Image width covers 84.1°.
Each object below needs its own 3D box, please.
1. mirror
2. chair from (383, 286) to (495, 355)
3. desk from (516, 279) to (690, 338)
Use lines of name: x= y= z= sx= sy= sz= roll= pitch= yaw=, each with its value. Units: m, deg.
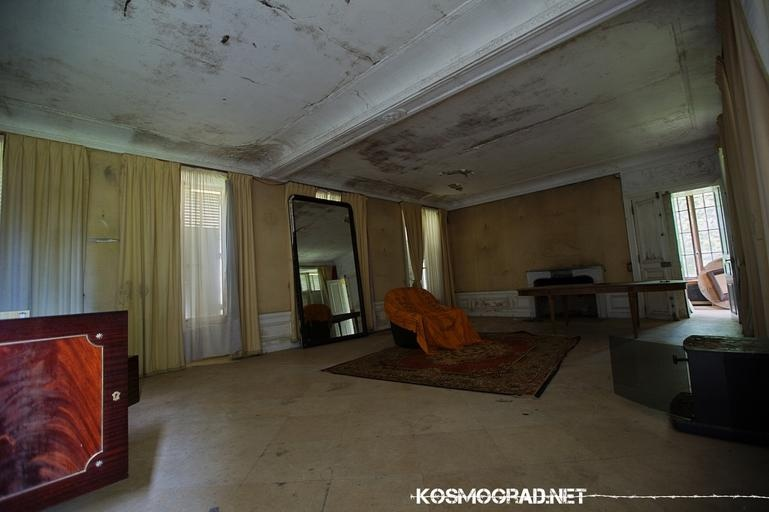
mirror: x=-1.030 y=0.207 z=7.544 sx=1.717 sy=2.578 sz=0.806 roll=-16 pitch=17 yaw=-39
chair: x=0.676 y=0.916 z=6.590 sx=1.237 sy=0.760 sz=1.339 roll=-1 pitch=3 yaw=-36
desk: x=3.262 y=0.786 z=6.577 sx=2.349 sy=0.702 sz=0.778 roll=-7 pitch=-6 yaw=39
